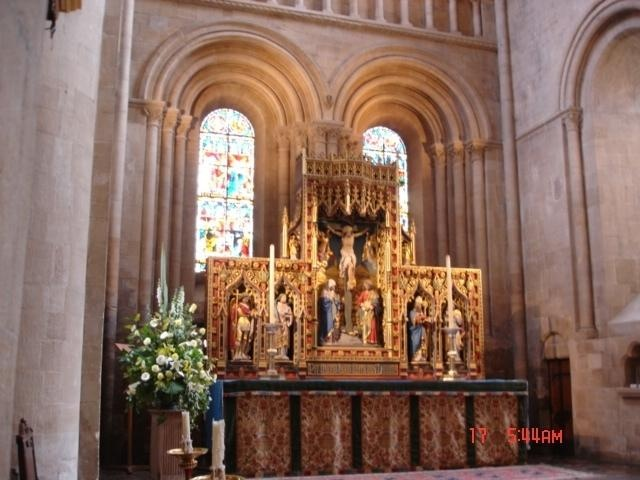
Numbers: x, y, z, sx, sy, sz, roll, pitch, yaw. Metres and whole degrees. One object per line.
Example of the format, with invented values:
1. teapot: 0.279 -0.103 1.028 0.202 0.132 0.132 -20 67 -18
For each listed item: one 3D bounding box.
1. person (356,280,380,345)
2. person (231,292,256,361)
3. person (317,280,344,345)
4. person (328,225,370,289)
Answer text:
1. person: 0.879 1.306 14.882 0.394 1.144 0.262 -3 -12 10
2. person: -1.302 1.494 14.247 0.414 1.143 0.199 1 -12 -8
3. person: 0.209 1.278 14.683 0.413 1.116 0.304 2 -12 -15
4. person: 0.512 0.342 15.209 0.872 1.341 0.370 3 -15 -16
